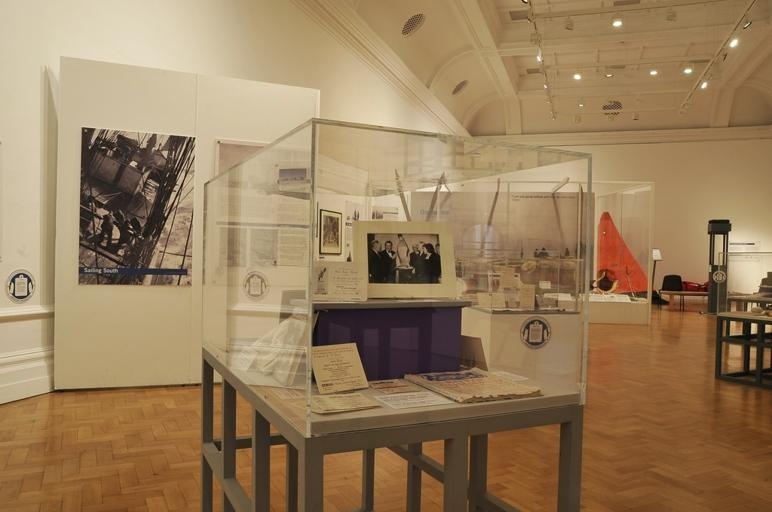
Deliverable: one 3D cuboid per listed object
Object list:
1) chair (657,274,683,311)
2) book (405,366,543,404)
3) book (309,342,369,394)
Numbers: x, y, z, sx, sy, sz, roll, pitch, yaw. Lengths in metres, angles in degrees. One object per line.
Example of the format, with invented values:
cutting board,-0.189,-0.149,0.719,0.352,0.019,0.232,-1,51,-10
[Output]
chair,7.592,0.808,14.605,0.618,0.821,0.594,-1,-6,19
book,0.475,0.690,2.960,0.749,0.167,0.118,2,-3,-17
book,-0.236,0.561,2.809,0.248,0.292,0.022,-4,22,3
